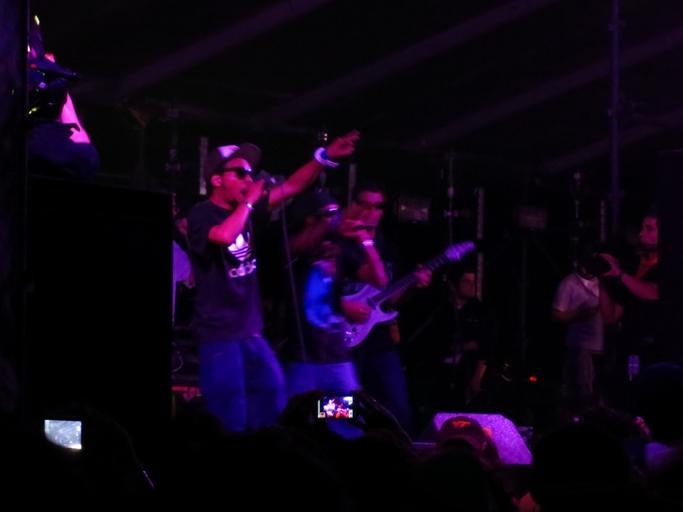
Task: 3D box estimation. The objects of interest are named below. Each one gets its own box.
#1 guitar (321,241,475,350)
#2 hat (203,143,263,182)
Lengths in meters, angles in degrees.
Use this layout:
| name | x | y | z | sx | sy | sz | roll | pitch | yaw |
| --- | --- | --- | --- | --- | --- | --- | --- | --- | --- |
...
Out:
| name | x | y | z | sx | sy | sz | roll | pitch | yaw |
| --- | --- | --- | --- | --- | --- | --- | --- | --- | --- |
| guitar | 0.470 | 0.248 | 4.667 | 0.144 | 0.558 | 1.518 | 32 | -40 | -25 |
| hat | -0.681 | -0.584 | 3.978 | 0.307 | 0.098 | 0.222 | -31 | -10 | 6 |
